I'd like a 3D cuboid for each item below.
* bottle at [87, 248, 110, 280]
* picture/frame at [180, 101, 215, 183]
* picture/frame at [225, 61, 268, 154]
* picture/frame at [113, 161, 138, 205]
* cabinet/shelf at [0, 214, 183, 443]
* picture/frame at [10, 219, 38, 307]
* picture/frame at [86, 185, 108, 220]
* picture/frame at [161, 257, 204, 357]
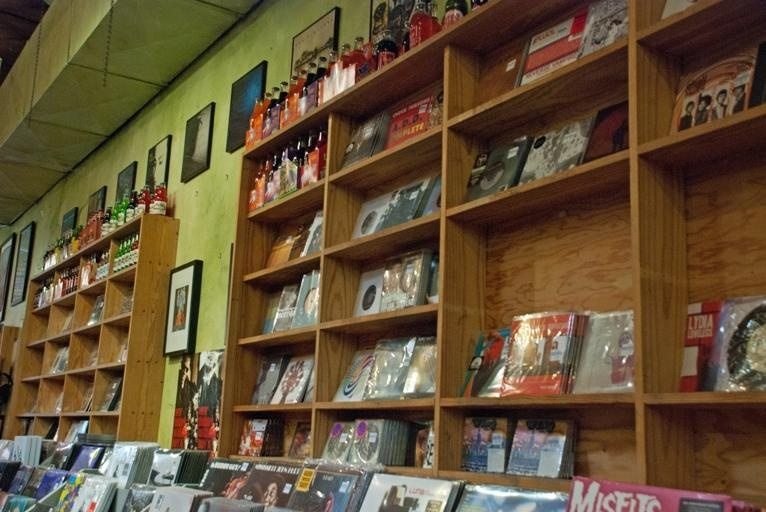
[{"bbox_3d":[-3.132,0.093,6.377,0.105,0.300,0.318,4,-9,-38],"label":"bottle"},{"bbox_3d":[-1.823,-1.106,5.715,0.087,0.850,0.847,8,-13,-31],"label":"picture/frame"},{"bbox_3d":[-1.136,-1.234,4.850,0.093,0.838,0.887,11,-24,-25],"label":"picture/frame"},{"bbox_3d":[-3.090,-0.876,6.967,0.069,0.619,0.663,6,-9,-32],"label":"picture/frame"},{"bbox_3d":[-3.547,1.041,6.768,0.915,2.174,4.070,29,-33,-37],"label":"cabinet/shelf"},{"bbox_3d":[-5.934,0.149,9.582,0.071,1.280,1.469,8,-8,-27],"label":"picture/frame"},{"bbox_3d":[-3.723,-0.700,7.555,0.053,0.377,0.531,7,-16,-34],"label":"picture/frame"},{"bbox_3d":[-1.843,0.501,5.335,0.107,0.959,0.779,7,-15,-33],"label":"picture/frame"}]
